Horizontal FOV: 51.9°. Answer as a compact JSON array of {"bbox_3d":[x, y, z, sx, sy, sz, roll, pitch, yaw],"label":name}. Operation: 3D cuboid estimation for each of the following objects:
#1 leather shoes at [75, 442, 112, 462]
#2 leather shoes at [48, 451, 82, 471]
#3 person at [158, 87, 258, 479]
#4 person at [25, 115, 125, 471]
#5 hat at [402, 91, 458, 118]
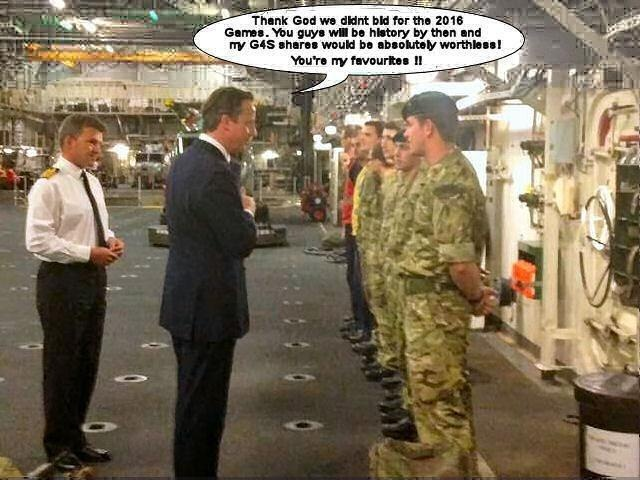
[{"bbox_3d":[-1.540,1.479,4.560,0.192,0.070,0.114,17,1,-26],"label":"leather shoes"},{"bbox_3d":[-1.638,1.455,4.310,0.122,0.052,0.159,21,5,24],"label":"leather shoes"},{"bbox_3d":[-0.651,0.271,3.916,0.568,2.326,0.381,-1,6,-13],"label":"person"},{"bbox_3d":[-1.619,0.362,4.428,0.603,2.388,0.435,-3,7,-36],"label":"person"},{"bbox_3d":[0.707,-0.894,4.403,0.190,0.099,0.257,-14,17,-32],"label":"hat"}]
